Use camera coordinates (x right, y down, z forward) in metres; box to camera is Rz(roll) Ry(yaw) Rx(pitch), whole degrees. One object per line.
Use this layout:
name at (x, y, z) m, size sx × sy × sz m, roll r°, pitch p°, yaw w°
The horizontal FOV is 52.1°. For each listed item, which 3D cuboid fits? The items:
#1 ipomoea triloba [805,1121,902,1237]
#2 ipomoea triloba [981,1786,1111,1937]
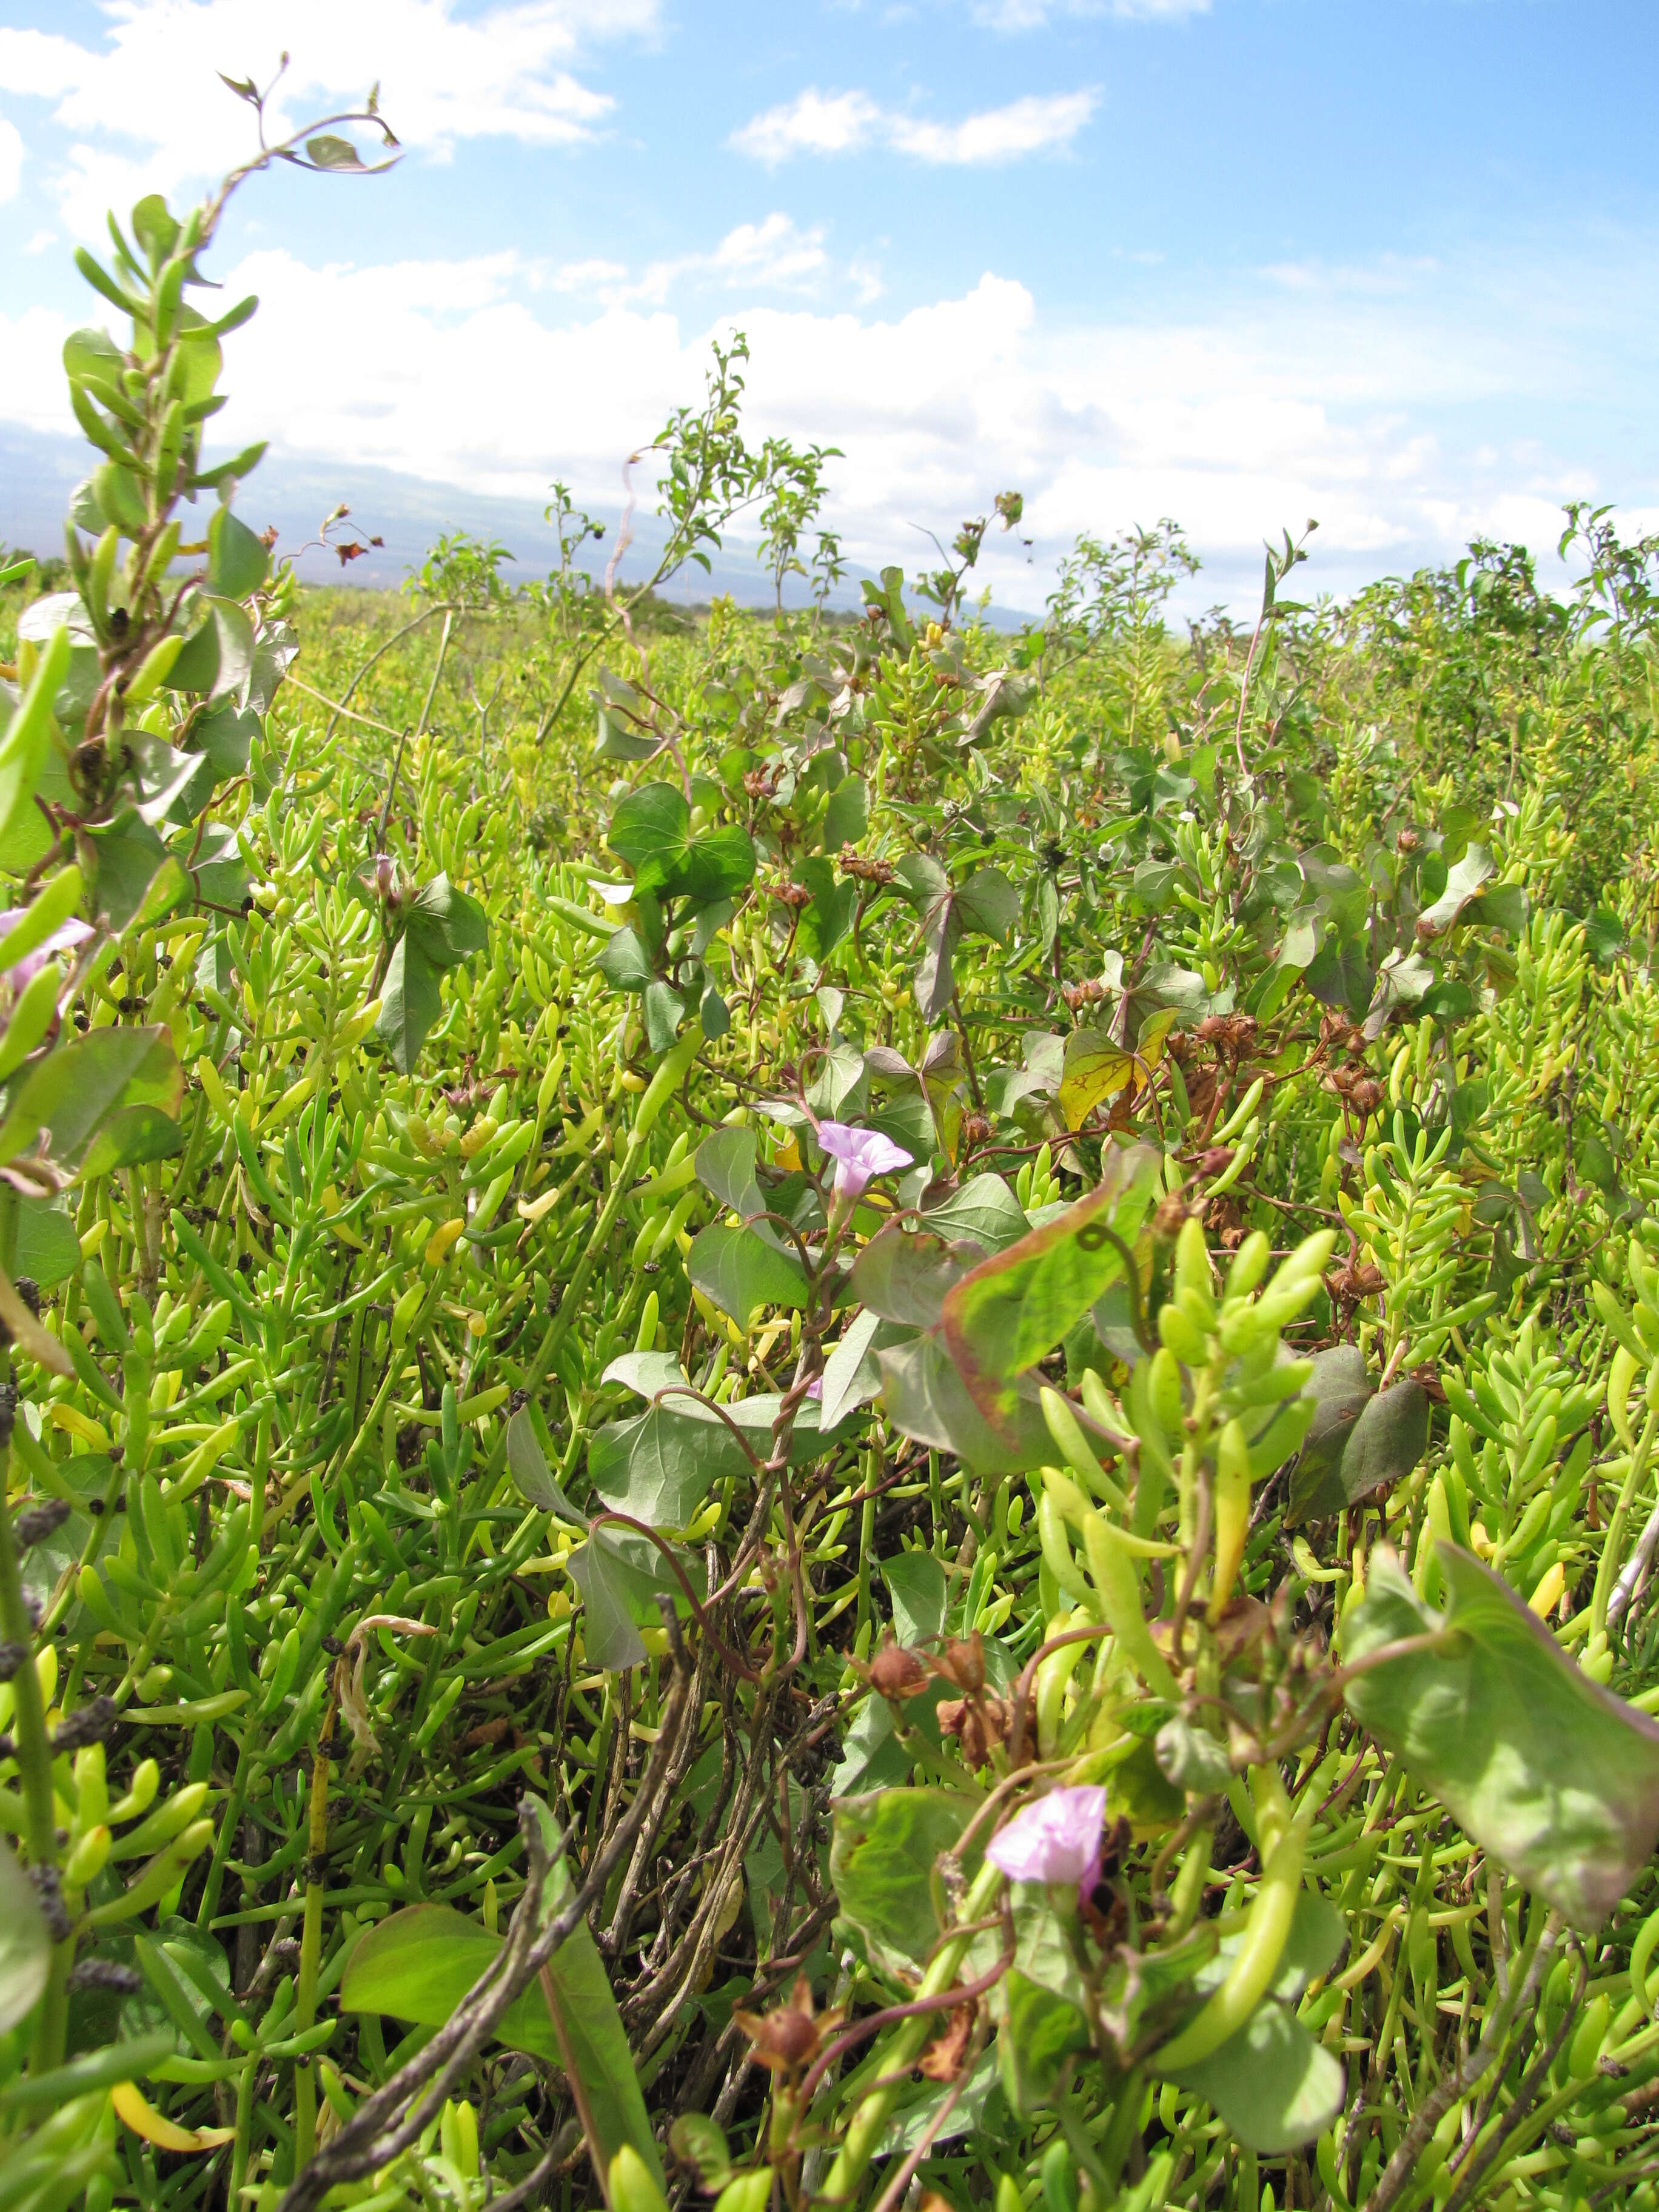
ipomoea triloba at (0.020, 0.049, 1.057) m, size 0.059 × 0.057 × 0.058 m, roll 23°, pitch 5°, yaw -1°
ipomoea triloba at (0.085, 0.285, 0.655) m, size 0.055 × 0.033 × 0.060 m, roll -9°, pitch 37°, yaw 3°
